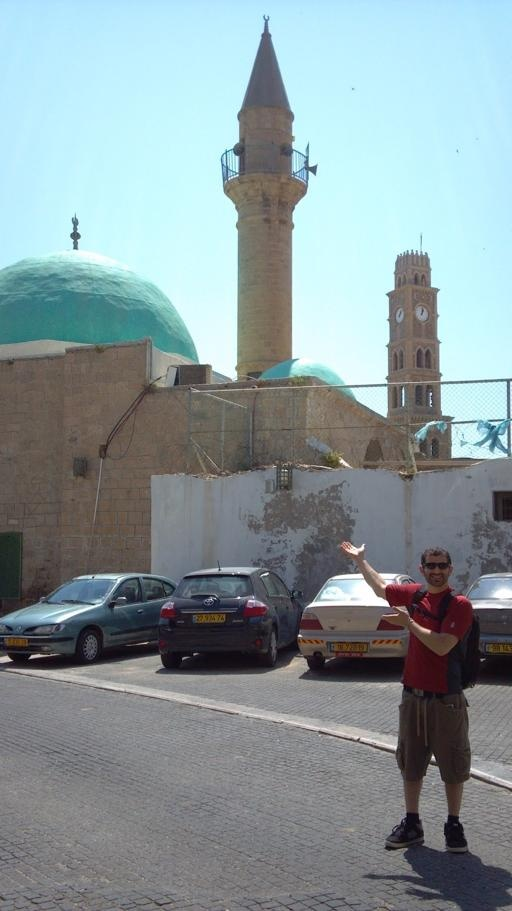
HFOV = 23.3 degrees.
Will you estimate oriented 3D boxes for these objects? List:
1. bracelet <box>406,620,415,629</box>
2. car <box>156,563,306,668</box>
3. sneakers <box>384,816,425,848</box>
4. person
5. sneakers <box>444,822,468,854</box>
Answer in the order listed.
[{"bbox_3d":[0.761,0.845,6.147,0.029,0.041,0.091,-2,1,-3],"label":"bracelet"},{"bbox_3d":[-0.187,1.666,13.078,0.721,0.740,1.734,-2,-3,11],"label":"car"},{"bbox_3d":[0.719,1.846,6.014,0.088,0.130,0.254,-13,-20,35],"label":"sneakers"},{"bbox_3d":[0.843,1.198,6.246,0.527,1.190,0.669,-2,1,11],"label":"person"},{"bbox_3d":[0.938,1.840,5.970,0.134,0.118,0.107,-2,1,32],"label":"sneakers"}]
